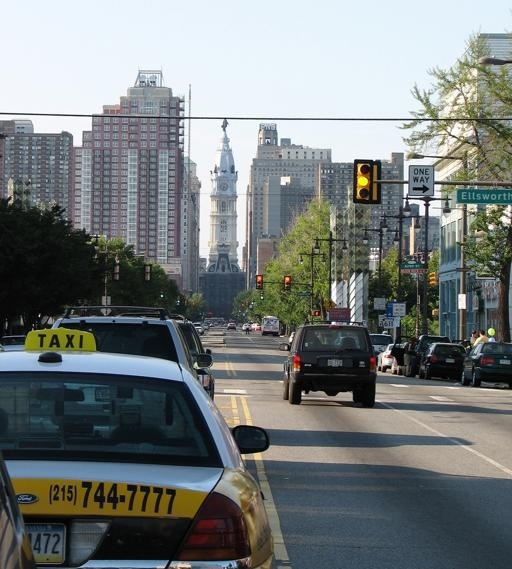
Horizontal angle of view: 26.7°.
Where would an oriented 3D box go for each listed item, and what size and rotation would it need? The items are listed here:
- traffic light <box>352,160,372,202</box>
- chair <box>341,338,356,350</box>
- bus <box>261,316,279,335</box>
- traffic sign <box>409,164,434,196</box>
[{"bbox_3d":[2.288,-2.205,23.393,0.404,0.942,0.530,0,3,7],"label":"traffic light"},{"bbox_3d":[1.773,1.151,21.062,0.325,0.325,0.187,0,-4,8],"label":"chair"},{"bbox_3d":[1.643,5.388,137.506,1.450,1.693,2.692,1,0,-3],"label":"bus"},{"bbox_3d":[3.816,-2.380,25.119,0.614,0.720,0.729,0,3,8],"label":"traffic sign"}]
